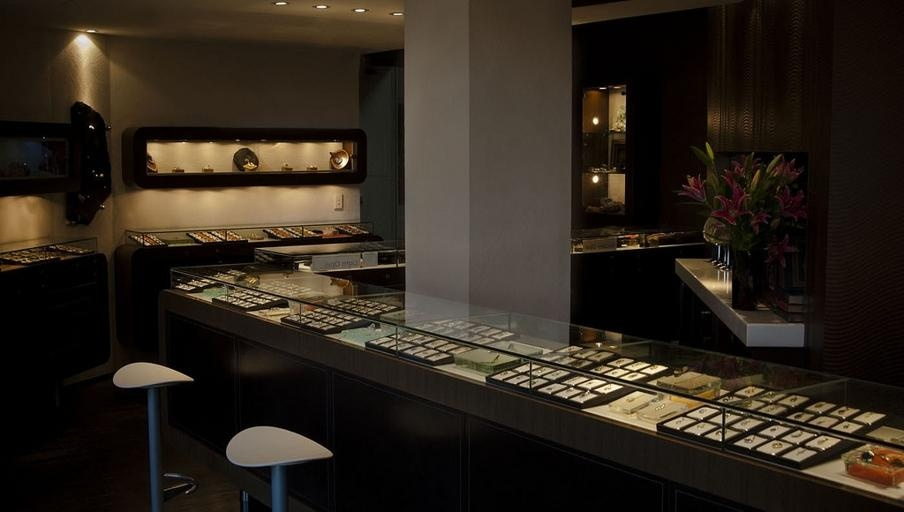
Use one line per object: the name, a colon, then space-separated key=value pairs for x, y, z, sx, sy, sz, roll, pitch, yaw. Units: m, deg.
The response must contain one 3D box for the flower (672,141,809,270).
flower: x=2.566 y=-0.439 z=5.362 sx=1.242 sy=1.068 sz=1.007 roll=3 pitch=-5 yaw=-19
